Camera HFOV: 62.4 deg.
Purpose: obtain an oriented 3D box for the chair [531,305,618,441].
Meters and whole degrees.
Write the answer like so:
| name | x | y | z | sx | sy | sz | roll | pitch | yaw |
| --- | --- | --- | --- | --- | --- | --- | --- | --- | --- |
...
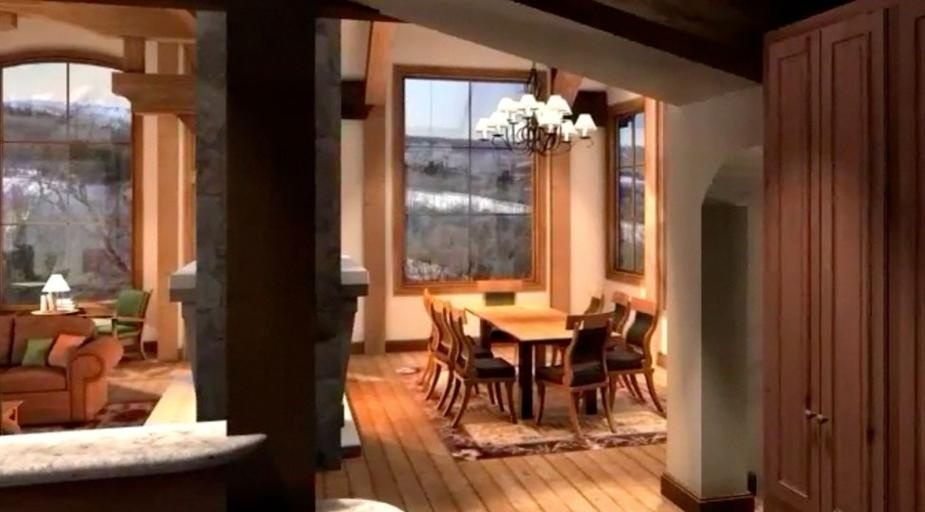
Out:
| name | x | y | z | sx | sy | sz | roll | pitch | yaw |
| --- | --- | --- | --- | --- | --- | --- | --- | --- | --- |
| chair | 1.261 | 1.301 | 8.494 | 0.888 | 1.305 | 0.596 | 0 | 13 | 6 |

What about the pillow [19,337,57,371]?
| name | x | y | z | sx | sy | sz | roll | pitch | yaw |
| --- | --- | --- | --- | --- | --- | --- | --- | --- | --- |
| pillow | -5.260 | 1.200 | 9.419 | 0.362 | 0.329 | 0.144 | 6 | -30 | 3 |

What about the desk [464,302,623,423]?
| name | x | y | z | sx | sy | sz | roll | pitch | yaw |
| --- | --- | --- | --- | --- | --- | --- | --- | --- | --- |
| desk | 0.967 | 0.850 | 9.337 | 1.168 | 0.939 | 2.185 | -2 | 7 | -17 |

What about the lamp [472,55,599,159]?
| name | x | y | z | sx | sy | sz | roll | pitch | yaw |
| --- | --- | --- | --- | --- | --- | --- | --- | --- | --- |
| lamp | 0.916 | -2.009 | 9.386 | 1.480 | 1.435 | 1.327 | -7 | 12 | -39 |

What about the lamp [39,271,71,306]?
| name | x | y | z | sx | sy | sz | roll | pitch | yaw |
| --- | --- | --- | --- | --- | --- | --- | --- | --- | --- |
| lamp | -6.337 | 0.531 | 11.814 | 0.425 | 0.544 | 1.178 | -8 | 13 | -27 |

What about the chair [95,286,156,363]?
| name | x | y | z | sx | sy | sz | roll | pitch | yaw |
| --- | --- | --- | --- | --- | --- | --- | --- | --- | --- |
| chair | -5.295 | 1.050 | 11.591 | 0.839 | 1.005 | 0.765 | 5 | 3 | 38 |

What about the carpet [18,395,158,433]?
| name | x | y | z | sx | sy | sz | roll | pitch | yaw |
| --- | --- | --- | --- | --- | --- | --- | --- | --- | --- |
| carpet | -4.474 | 1.879 | 9.654 | 1.221 | 0.234 | 1.163 | 6 | 10 | -36 |
